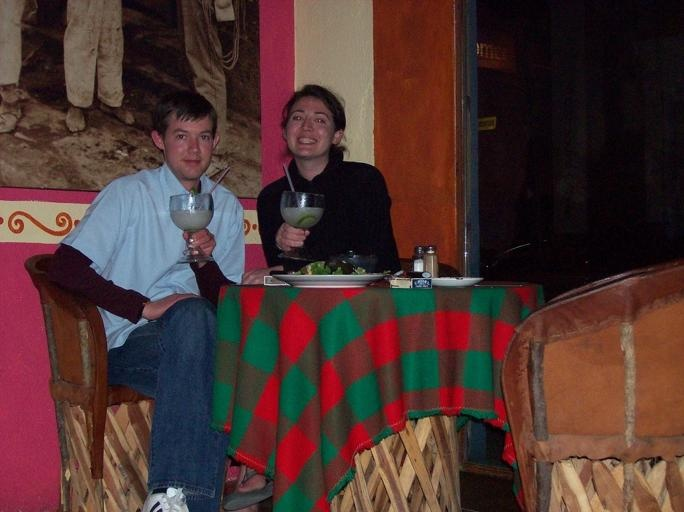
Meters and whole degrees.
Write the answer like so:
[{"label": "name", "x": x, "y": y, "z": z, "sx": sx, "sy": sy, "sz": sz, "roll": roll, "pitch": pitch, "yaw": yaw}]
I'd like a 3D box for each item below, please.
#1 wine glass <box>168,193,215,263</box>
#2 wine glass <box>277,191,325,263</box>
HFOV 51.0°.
[{"label": "wine glass", "x": -0.581, "y": -0.100, "z": 2.744, "sx": 0.158, "sy": 0.254, "sz": 0.258, "roll": 0, "pitch": -5, "yaw": -13}, {"label": "wine glass", "x": -0.160, "y": -0.114, "z": 2.781, "sx": 0.165, "sy": 0.259, "sz": 0.222, "roll": -1, "pitch": -5, "yaw": -6}]
